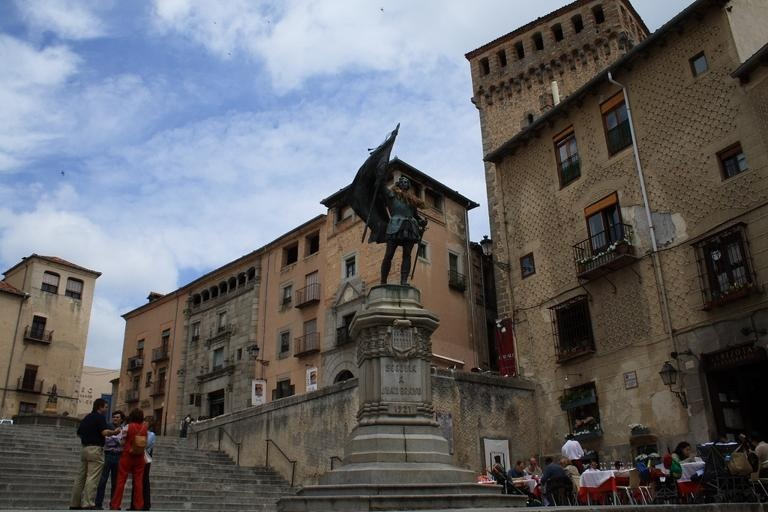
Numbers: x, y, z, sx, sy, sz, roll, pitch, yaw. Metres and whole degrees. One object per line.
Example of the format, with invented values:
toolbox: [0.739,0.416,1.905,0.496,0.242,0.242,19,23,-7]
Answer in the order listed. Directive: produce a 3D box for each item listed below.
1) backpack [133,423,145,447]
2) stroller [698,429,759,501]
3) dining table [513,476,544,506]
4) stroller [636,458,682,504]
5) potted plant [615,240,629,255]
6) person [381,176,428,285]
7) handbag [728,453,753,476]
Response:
backpack: [-5.775,4.245,14.756,0.321,0.551,0.301,10,-45,-31]
stroller: [9.326,5.723,16.895,1.142,1.374,1.192,5,-47,5]
dining table: [4.640,7.256,19.438,1.080,0.558,1.069,19,-31,-31]
stroller: [7.965,6.533,18.055,1.097,1.246,1.136,-7,-64,11]
potted plant: [9.620,-0.305,25.271,0.570,0.570,0.296,-10,-30,16]
person: [0.509,-0.864,17.006,1.184,3.603,1.382,-1,-29,2]
handbag: [9.175,5.397,16.135,0.545,0.564,0.315,-5,-15,34]
